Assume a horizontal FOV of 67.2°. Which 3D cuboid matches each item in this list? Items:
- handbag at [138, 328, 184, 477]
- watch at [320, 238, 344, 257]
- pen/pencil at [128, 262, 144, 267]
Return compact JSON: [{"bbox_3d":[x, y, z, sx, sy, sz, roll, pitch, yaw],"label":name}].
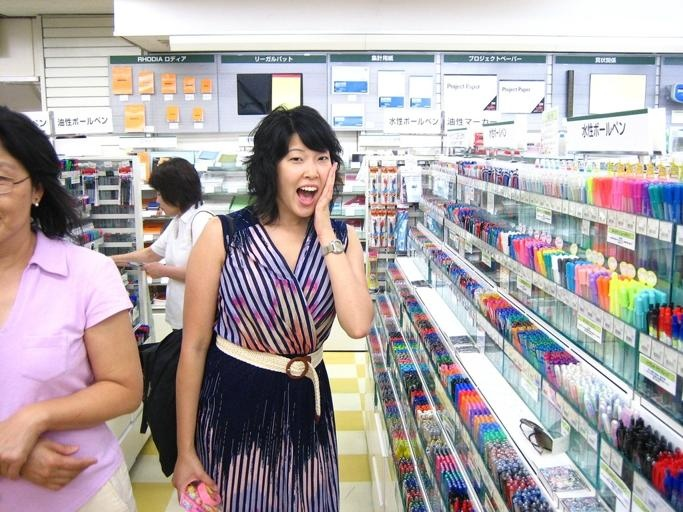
[{"bbox_3d":[-0.727,0.574,1.909,0.149,0.463,0.132,-19,-14,32],"label":"handbag"},{"bbox_3d":[-0.033,-0.014,1.685,0.065,0.042,0.067,1,-17,-46],"label":"watch"},{"bbox_3d":[-1.429,0.056,3.586,0.028,0.017,0.077,2,-4,32],"label":"pen/pencil"}]
